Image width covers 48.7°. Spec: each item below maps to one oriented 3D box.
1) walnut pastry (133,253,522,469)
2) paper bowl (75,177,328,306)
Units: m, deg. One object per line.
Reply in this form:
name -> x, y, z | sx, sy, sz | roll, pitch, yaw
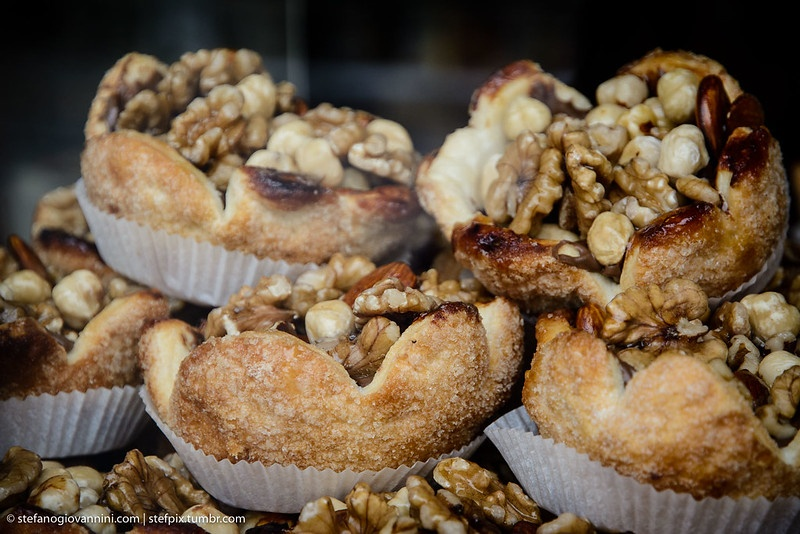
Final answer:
walnut pastry -> -0.151, 0.239, 2.240 | 0.671, 0.284, 0.589 | 1, 16, -14
paper bowl -> -0.615, -0.160, 2.504 | 0.439, 0.446, 0.123 | 22, 88, 28
